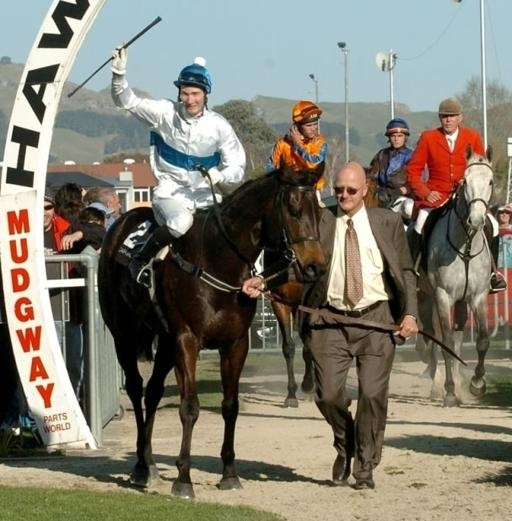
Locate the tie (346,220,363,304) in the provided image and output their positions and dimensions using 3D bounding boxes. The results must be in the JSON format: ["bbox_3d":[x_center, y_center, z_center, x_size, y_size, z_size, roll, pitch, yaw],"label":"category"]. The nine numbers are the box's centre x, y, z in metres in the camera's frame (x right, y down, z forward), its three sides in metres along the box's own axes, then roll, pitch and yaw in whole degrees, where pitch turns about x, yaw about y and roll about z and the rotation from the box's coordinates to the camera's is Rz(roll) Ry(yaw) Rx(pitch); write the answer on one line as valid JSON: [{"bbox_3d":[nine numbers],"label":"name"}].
[{"bbox_3d":[0.734,-0.001,9.859,0.122,0.625,0.064,0,1,3],"label":"tie"}]

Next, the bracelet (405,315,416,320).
[{"bbox_3d":[1.157,0.419,9.794,0.082,0.032,0.071,0,1,3],"label":"bracelet"}]

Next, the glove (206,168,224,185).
[{"bbox_3d":[-0.321,-0.692,10.368,0.098,0.121,0.128,-8,-41,-6],"label":"glove"}]

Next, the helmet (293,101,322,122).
[{"bbox_3d":[0.496,-1.448,12.720,0.275,0.215,0.377,0,1,1],"label":"helmet"}]

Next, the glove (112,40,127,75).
[{"bbox_3d":[-1.092,-1.606,10.463,0.105,0.225,0.140,0,1,-11],"label":"glove"}]

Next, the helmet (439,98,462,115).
[{"bbox_3d":[2.073,-1.646,13.993,0.228,0.175,0.323,0,1,8],"label":"helmet"}]

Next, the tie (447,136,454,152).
[{"bbox_3d":[2.115,-1.277,14.142,0.078,0.140,0.037,-1,-3,7],"label":"tie"}]

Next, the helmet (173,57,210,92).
[{"bbox_3d":[-0.501,-1.465,10.455,0.271,0.231,0.186,0,1,-9],"label":"helmet"}]

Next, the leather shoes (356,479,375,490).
[{"bbox_3d":[0.813,1.656,9.733,0.082,0.058,0.112,3,-13,0],"label":"leather shoes"}]
